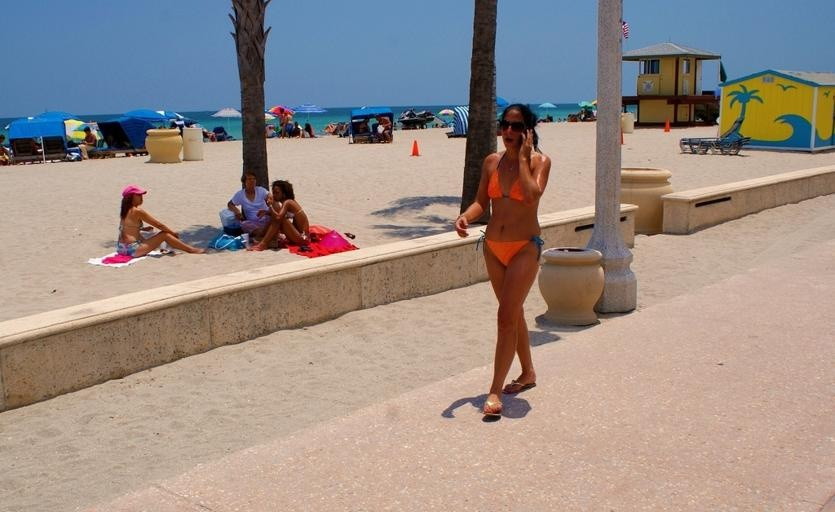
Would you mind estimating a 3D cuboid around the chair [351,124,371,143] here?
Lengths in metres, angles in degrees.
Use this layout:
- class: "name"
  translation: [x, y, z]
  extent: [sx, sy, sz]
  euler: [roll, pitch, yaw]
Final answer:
- class: "chair"
  translation: [-2.567, -5.718, 34.019]
  extent: [0.935, 0.816, 1.458]
  euler: [-3, 13, -4]

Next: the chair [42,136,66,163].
- class: "chair"
  translation: [-13.511, -3.993, 27.401]
  extent: [0.774, 0.853, 0.646]
  euler: [-8, 15, -25]

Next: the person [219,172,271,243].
- class: "person"
  translation: [-2.902, -0.882, 12.812]
  extent: [1.059, 1.075, 0.722]
  euler: [-3, 16, 2]

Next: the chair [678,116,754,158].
- class: "chair"
  translation: [10.912, -4.335, 26.806]
  extent: [2.785, 1.162, 1.561]
  euler: [3, 8, 13]

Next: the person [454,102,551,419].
- class: "person"
  translation: [0.822, -0.002, 6.698]
  extent: [0.733, 2.696, 1.025]
  euler: [0, 15, 10]

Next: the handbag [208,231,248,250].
- class: "handbag"
  translation: [-3.201, -0.254, 12.511]
  extent: [0.458, 0.142, 0.368]
  euler: [2, 8, 16]

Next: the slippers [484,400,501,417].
- class: "slippers"
  translation: [0.672, 1.356, 6.509]
  extent: [0.132, 0.085, 0.310]
  euler: [-1, -7, 5]

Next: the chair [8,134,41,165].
- class: "chair"
  translation: [-14.463, -3.907, 27.003]
  extent: [1.134, 0.930, 1.059]
  euler: [-2, 23, -17]

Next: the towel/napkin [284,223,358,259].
- class: "towel/napkin"
  translation: [-1.617, -0.218, 12.300]
  extent: [1.042, 0.319, 1.239]
  euler: [-6, 13, -17]

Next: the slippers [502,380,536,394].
- class: "slippers"
  translation: [0.965, 1.245, 6.961]
  extent: [0.251, 0.065, 0.118]
  euler: [2, -2, -32]

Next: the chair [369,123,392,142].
- class: "chair"
  translation: [-1.700, -5.697, 34.075]
  extent: [1.024, 0.857, 0.960]
  euler: [2, 4, 18]

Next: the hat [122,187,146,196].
- class: "hat"
  translation: [-4.631, -1.073, 12.076]
  extent: [0.291, 0.150, 0.456]
  euler: [-4, 13, -11]

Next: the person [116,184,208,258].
- class: "person"
  translation: [-4.279, -0.546, 12.364]
  extent: [1.593, 1.090, 0.755]
  euler: [1, 12, -41]

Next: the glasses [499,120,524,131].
- class: "glasses"
  translation: [0.848, -1.171, 6.594]
  extent: [0.233, 0.103, 0.107]
  euler: [4, 15, 22]

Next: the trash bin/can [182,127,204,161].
- class: "trash bin/can"
  translation: [-7.634, -3.814, 25.061]
  extent: [0.684, 1.080, 1.134]
  euler: [-6, 14, -17]
